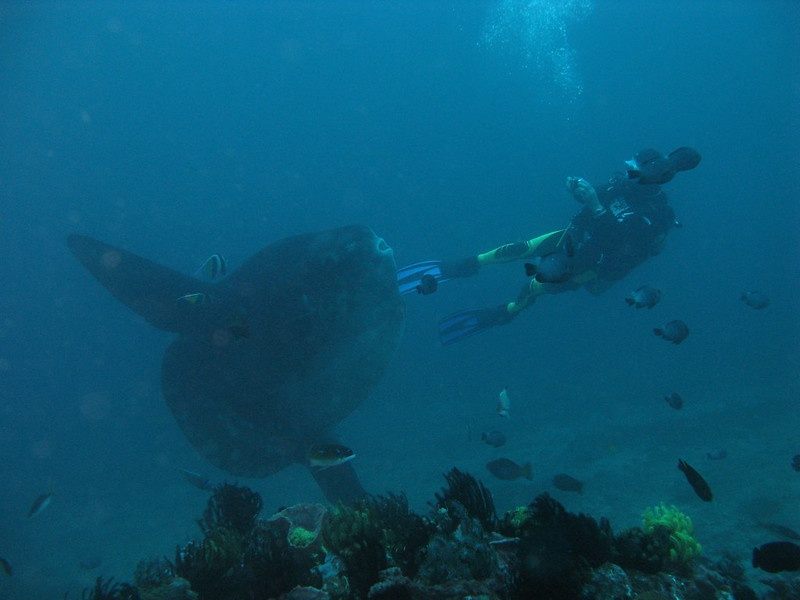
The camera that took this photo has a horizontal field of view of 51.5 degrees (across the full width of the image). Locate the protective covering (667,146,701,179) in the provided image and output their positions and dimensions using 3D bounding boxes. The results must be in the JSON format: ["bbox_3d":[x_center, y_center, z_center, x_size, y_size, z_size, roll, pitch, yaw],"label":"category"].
[{"bbox_3d":[9.116,-4.466,26.581,0.690,0.775,0.795,-4,8,-20],"label":"protective covering"}]
